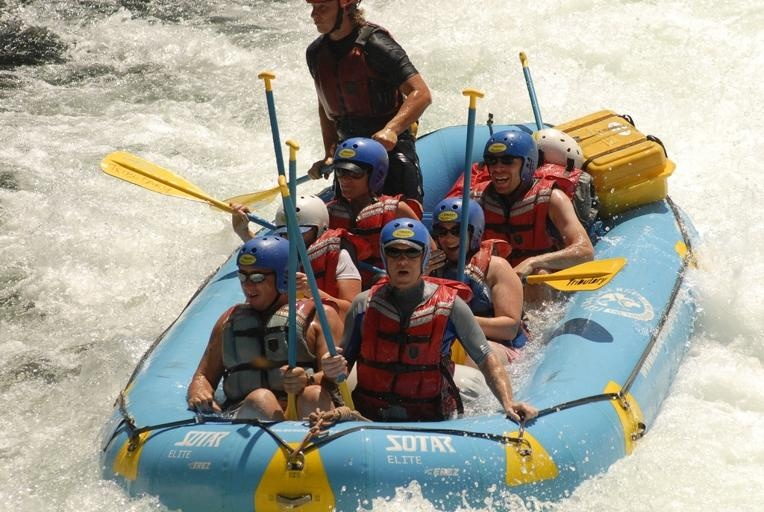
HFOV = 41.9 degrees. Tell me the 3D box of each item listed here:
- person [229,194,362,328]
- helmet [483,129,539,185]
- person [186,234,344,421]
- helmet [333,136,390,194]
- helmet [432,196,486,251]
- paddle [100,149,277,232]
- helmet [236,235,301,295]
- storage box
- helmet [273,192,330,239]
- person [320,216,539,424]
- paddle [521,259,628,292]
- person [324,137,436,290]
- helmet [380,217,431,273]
[{"bbox_3d":[-0.689,-0.078,8.432,0.823,0.282,1.310,-29,79,25],"label":"person"},{"bbox_3d":[1.202,-0.915,9.120,0.428,0.501,0.422,3,97,24],"label":"helmet"},{"bbox_3d":[-0.931,0.758,7.795,1.226,1.065,1.701,-5,86,26],"label":"person"},{"bbox_3d":[-0.199,-0.781,8.924,0.435,0.562,0.548,3,89,29],"label":"helmet"},{"bbox_3d":[0.706,-0.255,8.656,0.390,0.501,0.438,6,90,34],"label":"helmet"},{"bbox_3d":[-2.103,-0.660,10.608,2.071,0.352,0.411,21,62,-20],"label":"paddle"},{"bbox_3d":[-0.908,0.074,7.926,0.394,0.545,0.403,-3,84,37],"label":"helmet"},{"bbox_3d":[2.267,-1.006,9.972,0.872,0.523,1.097,-15,39,-8],"label":"storage box"},{"bbox_3d":[-0.674,-0.392,8.924,0.415,0.555,0.402,1,74,31],"label":"helmet"},{"bbox_3d":[0.231,0.673,7.642,1.179,0.634,1.640,-22,75,-3],"label":"person"},{"bbox_3d":[1.658,0.166,8.660,0.899,0.157,0.312,-7,69,32],"label":"paddle"},{"bbox_3d":[-0.219,-0.149,8.916,1.188,0.618,1.659,3,93,15],"label":"person"},{"bbox_3d":[0.186,-0.054,7.758,0.417,0.519,0.472,0,92,5],"label":"helmet"}]
